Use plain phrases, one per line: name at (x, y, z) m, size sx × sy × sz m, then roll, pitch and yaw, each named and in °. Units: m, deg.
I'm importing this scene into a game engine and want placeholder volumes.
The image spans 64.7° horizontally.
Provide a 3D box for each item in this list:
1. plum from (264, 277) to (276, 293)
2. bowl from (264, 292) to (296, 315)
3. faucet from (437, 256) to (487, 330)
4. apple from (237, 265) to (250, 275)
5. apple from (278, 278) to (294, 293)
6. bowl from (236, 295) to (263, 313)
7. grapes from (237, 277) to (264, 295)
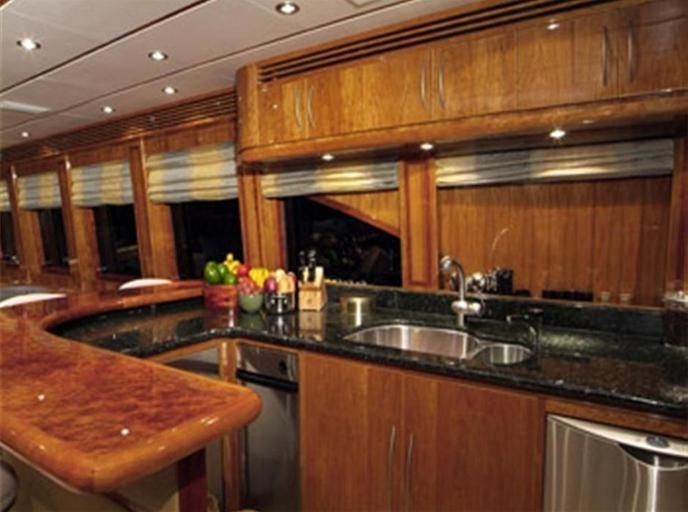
plum at (-0.417, 0.165, 3.086) m, size 0.063 × 0.084 × 0.066 m, roll 10°, pitch -16°, yaw -5°
bowl at (-0.337, 0.257, 3.149) m, size 0.134 × 0.127 × 0.283 m, roll -1°, pitch 4°, yaw 24°
faucet at (0.640, 0.170, 2.912) m, size 0.225 × 0.361 × 0.457 m, roll -2°, pitch 4°, yaw 10°
apple at (-0.607, 0.085, 3.266) m, size 0.059 × 0.072 × 0.058 m, roll -9°, pitch 28°, yaw -39°
apple at (-0.326, 0.164, 3.154) m, size 0.073 × 0.085 × 0.247 m, roll -3°, pitch 3°, yaw 6°
bowl at (-0.538, 0.263, 3.147) m, size 0.103 × 0.090 × 0.116 m, roll 1°, pitch 8°, yaw 8°
grapes at (-0.533, 0.172, 3.099) m, size 0.117 × 0.051 × 0.091 m, roll 30°, pitch 30°, yaw 26°
